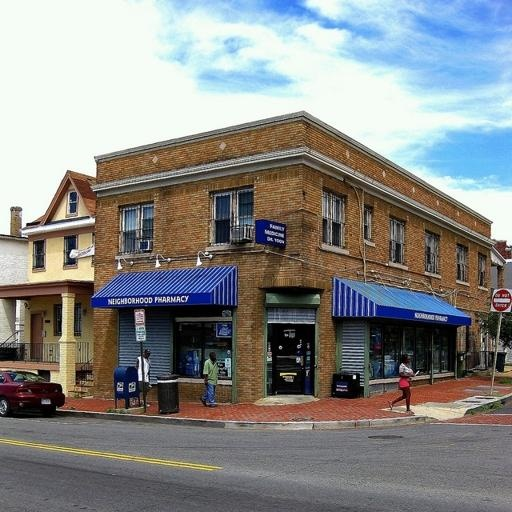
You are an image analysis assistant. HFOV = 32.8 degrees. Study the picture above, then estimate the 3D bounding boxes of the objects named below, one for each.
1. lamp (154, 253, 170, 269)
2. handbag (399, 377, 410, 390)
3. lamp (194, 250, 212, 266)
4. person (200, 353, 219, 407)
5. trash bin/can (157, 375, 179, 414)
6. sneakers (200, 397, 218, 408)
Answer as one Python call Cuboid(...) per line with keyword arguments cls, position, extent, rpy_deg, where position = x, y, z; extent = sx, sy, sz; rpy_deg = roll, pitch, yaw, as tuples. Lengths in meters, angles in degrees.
Cuboid(cls="lamp", position=(-3.029, 0.128, 27.301), extent=(0.166, 0.467, 0.576), rpy_deg=(10, -15, -42))
Cuboid(cls="handbag", position=(3.785, 3.286, 22.131), extent=(0.266, 0.438, 0.457), rpy_deg=(-6, -10, 5))
Cuboid(cls="lamp", position=(-1.575, 0.042, 26.081), extent=(0.592, 0.466, 0.133), rpy_deg=(-8, -13, 34))
Cuboid(cls="person", position=(-1.295, 3.401, 23.961), extent=(0.385, 1.447, 1.170), rpy_deg=(1, -11, -4))
Cuboid(cls="trash bin/can", position=(-2.362, 3.584, 22.905), extent=(0.642, 1.019, 0.651), rpy_deg=(-1, 1, 15))
Cuboid(cls="sneakers", position=(-1.342, 4.098, 24.270), extent=(0.196, 0.249, 0.576), rpy_deg=(4, -8, -37))
